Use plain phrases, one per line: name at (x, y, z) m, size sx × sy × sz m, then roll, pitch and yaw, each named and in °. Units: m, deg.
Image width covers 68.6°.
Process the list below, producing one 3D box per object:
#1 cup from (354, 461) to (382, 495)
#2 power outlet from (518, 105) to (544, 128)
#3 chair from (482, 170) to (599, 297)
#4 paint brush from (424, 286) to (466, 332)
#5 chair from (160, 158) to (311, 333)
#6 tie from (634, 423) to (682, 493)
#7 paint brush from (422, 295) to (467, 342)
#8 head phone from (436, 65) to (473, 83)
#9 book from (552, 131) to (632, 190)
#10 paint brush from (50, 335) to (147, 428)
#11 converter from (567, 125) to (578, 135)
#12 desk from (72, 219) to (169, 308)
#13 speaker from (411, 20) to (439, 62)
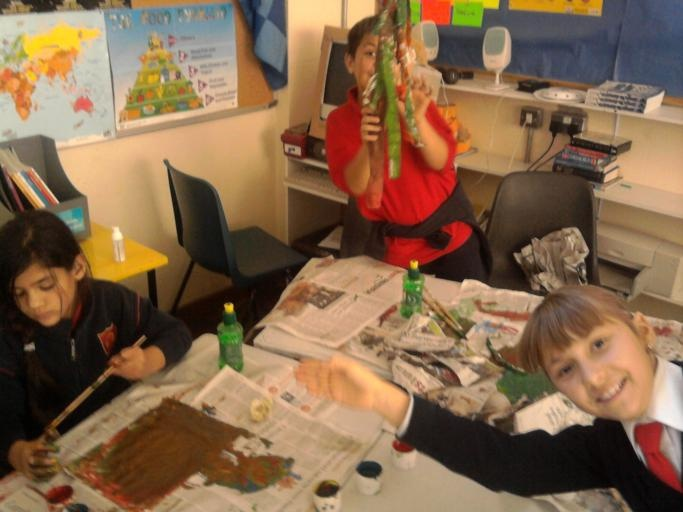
cup at (0.062, 0.509, 1.159) m, size 0.057 × 0.061 × 0.059 m, roll -1°, pitch 25°, yaw 1°
power outlet at (1.130, -0.823, 2.964) m, size 0.055 × 0.095 × 0.105 m, roll -30°, pitch 43°, yaw -32°
chair at (0.952, -0.163, 2.584) m, size 0.499 × 0.748 × 0.599 m, roll 4°, pitch 51°, yaw 13°
paint brush at (0.331, 0.176, 1.653) m, size 0.047 × 0.023 × 0.267 m, roll -31°, pitch 30°, yaw -2°
chair at (-0.585, -0.061, 2.848) m, size 0.687 × 1.027 × 0.742 m, roll 26°, pitch 34°, yaw 31°
tie at (0.602, 0.375, 0.941) m, size 0.071 × 0.111 × 0.032 m, roll -11°, pitch -10°, yaw 28°
paint brush at (0.330, 0.178, 1.647) m, size 0.050 × 0.022 × 0.247 m, roll 24°, pitch 21°, yaw -32°
head phone at (0.713, -1.124, 3.132) m, size 0.146 × 0.082 × 0.199 m, roll 15°, pitch 12°, yaw 30°
book at (1.348, -0.558, 2.672) m, size 0.365 × 0.183 × 0.292 m, roll -29°, pitch 38°, yaw -30°
paint brush at (-0.721, 0.372, 1.466) m, size 0.321 × 0.061 × 0.073 m, roll -47°, pitch 14°, yaw -27°
converter at (1.301, -0.703, 2.807) m, size 0.062 × 0.060 × 0.015 m, roll 16°, pitch 24°, yaw 23°
desk at (-1.022, 0.082, 2.439) m, size 0.373 × 0.368 × 0.377 m, roll -23°, pitch 50°, yaw -35°
speaker at (0.503, -1.302, 3.014) m, size 0.163 × 0.240 × 0.120 m, roll -23°, pitch 32°, yaw -23°
